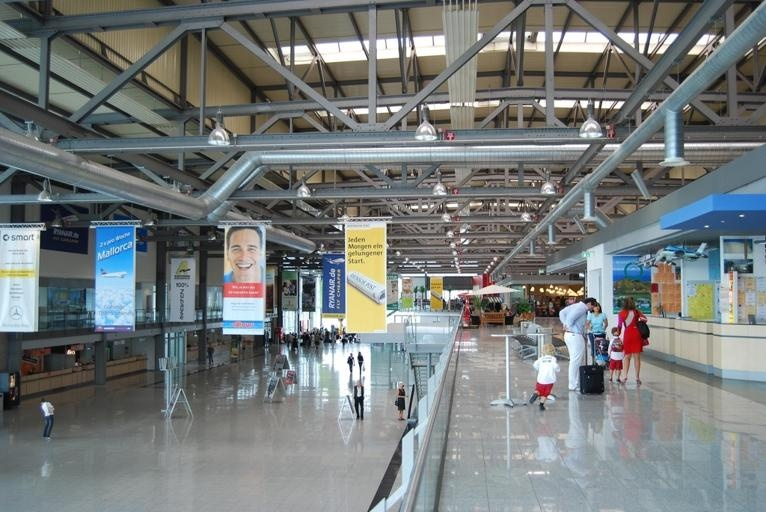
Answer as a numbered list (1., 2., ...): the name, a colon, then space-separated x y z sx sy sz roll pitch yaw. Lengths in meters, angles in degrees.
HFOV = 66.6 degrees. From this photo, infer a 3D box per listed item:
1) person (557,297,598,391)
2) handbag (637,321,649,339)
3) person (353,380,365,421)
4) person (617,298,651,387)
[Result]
1. person: 5.381 2.459 16.011 0.832 2.560 1.519 1 -2 23
2. handbag: 7.512 2.141 16.794 0.291 0.529 0.407 -7 -24 32
3. person: -1.183 7.134 28.880 0.475 1.935 0.856 2 -2 -1
4. person: 7.363 2.437 17.102 0.881 2.406 0.719 -1 -3 0
